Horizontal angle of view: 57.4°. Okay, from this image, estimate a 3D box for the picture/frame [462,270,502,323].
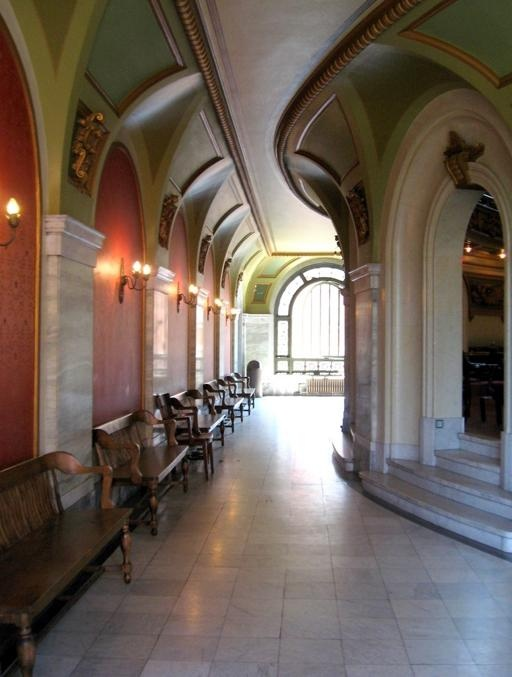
[{"bbox_3d":[5.495,-1.104,11.441,1.270,1.294,0.209,-2,7,-16],"label":"picture/frame"}]

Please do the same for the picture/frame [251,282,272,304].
[{"bbox_3d":[0.202,-1.816,17.941,0.698,0.941,0.095,2,13,-4],"label":"picture/frame"}]
